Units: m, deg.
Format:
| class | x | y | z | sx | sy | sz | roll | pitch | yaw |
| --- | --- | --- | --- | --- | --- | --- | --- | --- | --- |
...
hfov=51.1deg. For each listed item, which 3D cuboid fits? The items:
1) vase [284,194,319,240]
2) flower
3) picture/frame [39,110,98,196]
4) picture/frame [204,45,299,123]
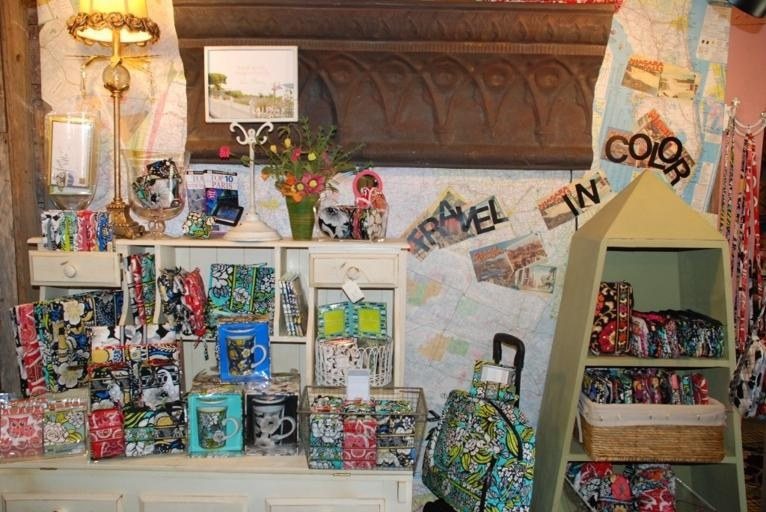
| class | x | y | z | sx | sy | sz | roll | pitch | yaw |
| --- | --- | --- | --- | --- | --- | --- | --- | --- | --- |
| vase | -0.466 | -0.224 | 4.630 | 0.180 | 0.255 | 0.122 | 0 | -1 | -8 |
| flower | -0.516 | -0.598 | 4.725 | 0.589 | 0.417 | 0.591 | 1 | 5 | -7 |
| picture/frame | -1.809 | -0.598 | 4.642 | 0.273 | 0.473 | 0.126 | 0 | -1 | -24 |
| picture/frame | -0.797 | -1.076 | 4.827 | 0.436 | 0.352 | 0.009 | 0 | 4 | -1 |
